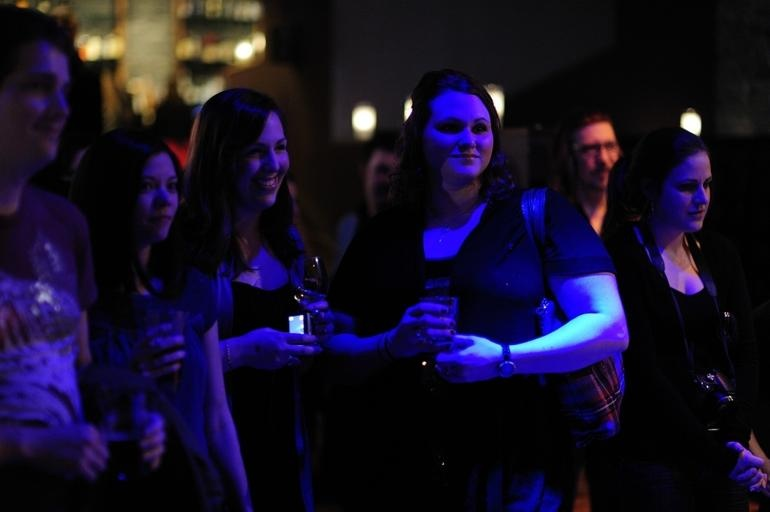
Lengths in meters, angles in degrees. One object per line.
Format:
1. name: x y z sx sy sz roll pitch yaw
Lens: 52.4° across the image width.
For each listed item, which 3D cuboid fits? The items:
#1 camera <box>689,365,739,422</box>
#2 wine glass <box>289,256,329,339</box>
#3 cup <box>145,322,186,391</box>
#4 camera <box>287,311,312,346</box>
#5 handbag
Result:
1. camera: 1.633 0.679 3.857 0.172 0.165 0.119 -17 -26 -33
2. wine glass: -0.362 0.186 3.637 0.162 0.360 0.187 0 2 -10
3. cup: -0.920 0.428 3.365 0.119 0.341 0.135 0 2 -16
4. camera: -0.387 0.341 3.619 0.156 0.155 0.084 -1 -9 8
5. handbag: 0.868 0.429 3.537 0.346 0.678 0.504 -11 26 20
